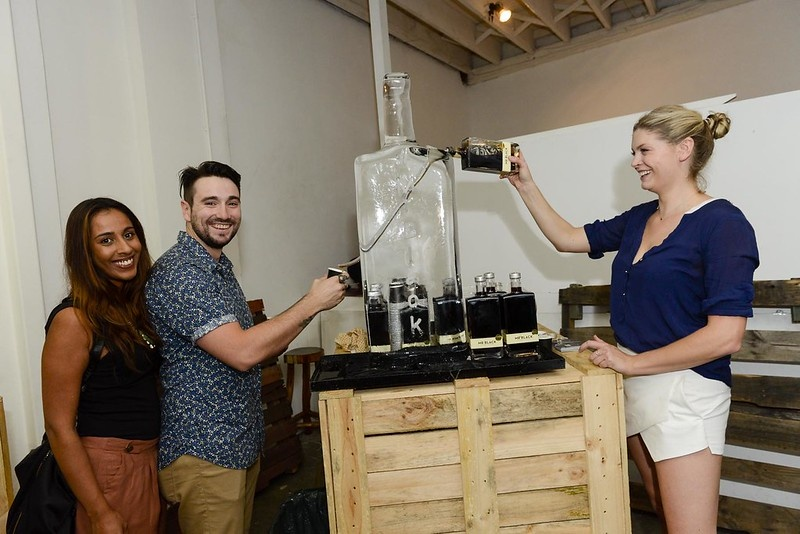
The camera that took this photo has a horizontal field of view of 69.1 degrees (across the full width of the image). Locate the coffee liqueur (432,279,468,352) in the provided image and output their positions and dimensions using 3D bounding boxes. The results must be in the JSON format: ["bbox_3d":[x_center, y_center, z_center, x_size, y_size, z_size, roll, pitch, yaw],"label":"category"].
[{"bbox_3d":[0.213,0.191,2.475,0.122,0.271,0.088,-5,12,-8],"label":"coffee liqueur"}]

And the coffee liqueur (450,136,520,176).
[{"bbox_3d":[0.395,-0.502,2.670,0.302,0.084,0.158,2,-35,-22],"label":"coffee liqueur"}]

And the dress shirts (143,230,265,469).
[{"bbox_3d":[-0.906,0.369,2.734,0.438,1.098,0.705,0,7,-7],"label":"dress shirts"}]

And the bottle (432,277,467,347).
[{"bbox_3d":[0.210,0.185,2.478,0.128,0.269,0.107,-4,3,-3],"label":"bottle"}]

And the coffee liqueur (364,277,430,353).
[{"bbox_3d":[-0.008,0.173,2.555,0.324,0.496,0.257,-1,3,1],"label":"coffee liqueur"}]

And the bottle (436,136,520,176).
[{"bbox_3d":[0.355,-0.486,2.662,0.327,0.083,0.173,3,-1,-30],"label":"bottle"}]

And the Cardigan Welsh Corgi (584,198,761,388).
[{"bbox_3d":[1.158,0.083,2.654,0.415,0.794,0.820,8,-7,-34],"label":"Cardigan Welsh Corgi"}]

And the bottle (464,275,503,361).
[{"bbox_3d":[0.345,0.215,2.457,0.173,0.354,0.192,-3,-4,-16],"label":"bottle"}]
